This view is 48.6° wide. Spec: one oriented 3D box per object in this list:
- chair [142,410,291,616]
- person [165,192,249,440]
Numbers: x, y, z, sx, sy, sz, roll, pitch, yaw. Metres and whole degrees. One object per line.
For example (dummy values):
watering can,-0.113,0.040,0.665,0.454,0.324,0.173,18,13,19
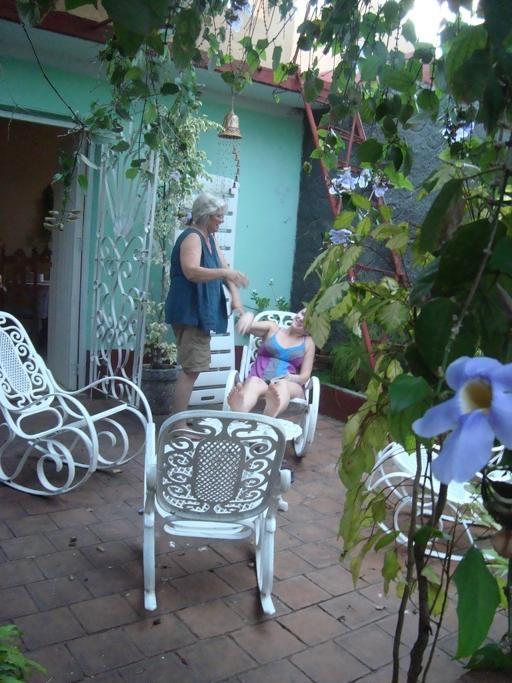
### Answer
chair,-0.167,0.740,2.329,0.542,0.907,0.699,3,39,-6
person,-0.369,-0.240,3.962,0.612,1.541,0.500,7,8,8
